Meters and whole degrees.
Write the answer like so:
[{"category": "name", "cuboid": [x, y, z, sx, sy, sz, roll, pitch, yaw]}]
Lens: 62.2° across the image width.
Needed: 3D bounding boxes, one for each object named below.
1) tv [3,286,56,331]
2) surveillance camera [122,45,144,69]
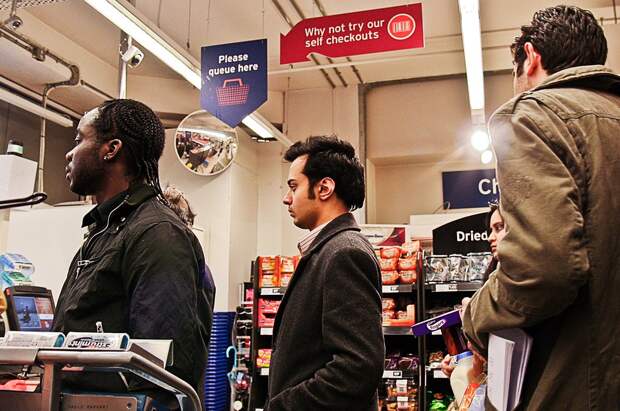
[{"category": "tv", "cuboid": [-1.629, 0.605, 2.971, 0.054, 0.244, 0.276, -17, -18, 20]}, {"category": "surveillance camera", "cuboid": [-2.275, -1.935, 6.577, 0.222, 0.301, 0.358, 2, -9, -21]}]
